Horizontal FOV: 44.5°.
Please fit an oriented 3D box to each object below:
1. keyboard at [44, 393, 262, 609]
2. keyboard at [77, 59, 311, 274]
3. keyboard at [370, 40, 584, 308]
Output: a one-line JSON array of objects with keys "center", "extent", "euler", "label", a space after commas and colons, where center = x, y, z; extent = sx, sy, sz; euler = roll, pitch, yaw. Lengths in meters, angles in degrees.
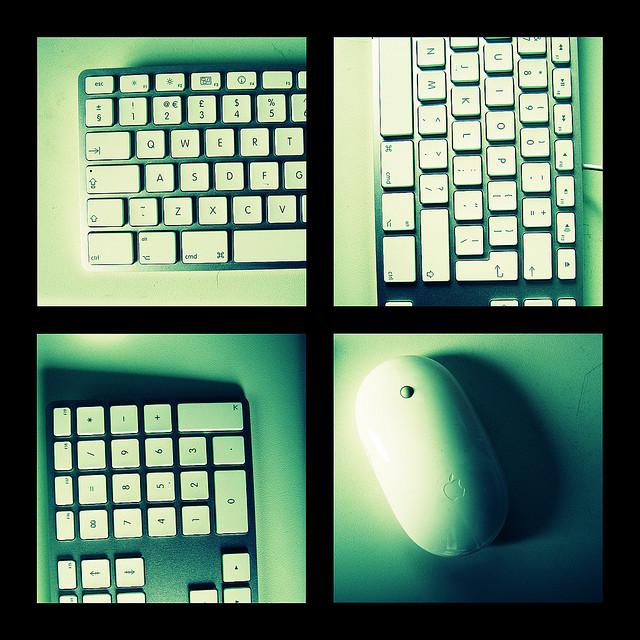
[{"center": [-0.138, 0.151, 0.645], "extent": [0.175, 0.104, 0.134], "euler": [-2, -54, -3], "label": "keyboard"}, {"center": [-0.103, -0.125, 0.647], "extent": [0.196, 0.105, 0.133], "euler": [-3, -54, -2], "label": "keyboard"}, {"center": [0.127, -0.121, 0.642], "extent": [0.175, 0.134, 0.167], "euler": [-2, -54, -2], "label": "keyboard"}]
